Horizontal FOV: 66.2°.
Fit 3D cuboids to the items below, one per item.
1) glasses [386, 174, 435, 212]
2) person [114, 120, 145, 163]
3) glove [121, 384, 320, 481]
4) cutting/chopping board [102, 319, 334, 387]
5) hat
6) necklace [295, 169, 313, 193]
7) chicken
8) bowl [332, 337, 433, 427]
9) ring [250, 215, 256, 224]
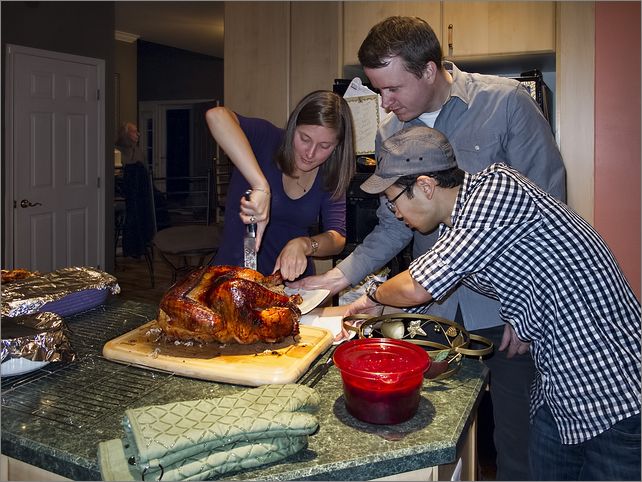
[{"bbox_3d":[0.274,-0.146,1.513,0.111,0.032,0.106,-36,2,-3],"label":"glasses"},{"bbox_3d":[-2.674,-1.368,6.971,0.368,0.555,0.754,-5,15,-24],"label":"person"},{"bbox_3d":[-0.204,0.377,1.052,0.289,0.070,0.176,-5,12,-19],"label":"glove"},{"bbox_3d":[-0.302,0.322,1.543,0.646,0.046,0.369,4,15,12],"label":"cutting/chopping board"},{"bbox_3d":[0.264,-0.247,1.476,0.249,0.131,0.177,-6,12,2],"label":"hat"},{"bbox_3d":[-0.074,-0.275,2.256,0.101,0.145,0.008,-2,7,-34],"label":"necklace"},{"bbox_3d":[-0.291,0.174,1.571,0.341,0.156,0.253,-1,6,-8],"label":"chicken"},{"bbox_3d":[0.161,0.370,1.253,0.252,0.162,0.289,4,3,15],"label":"bowl"},{"bbox_3d":[-0.256,-0.083,1.895,0.017,0.031,0.016,1,13,0],"label":"ring"}]
